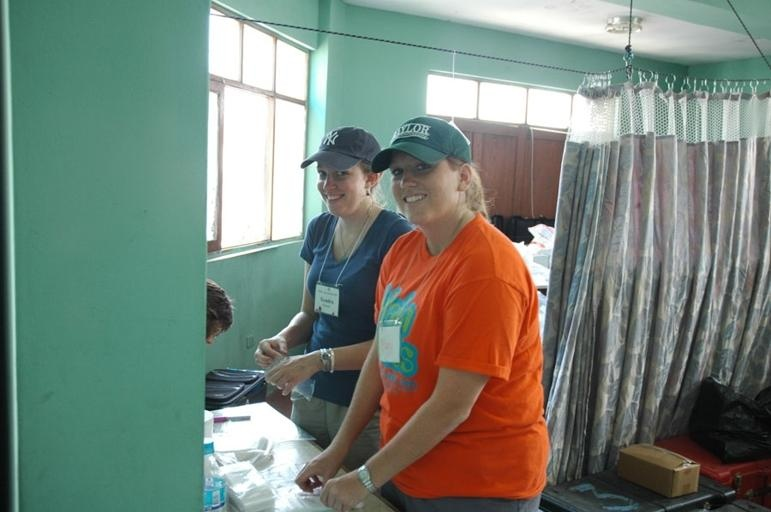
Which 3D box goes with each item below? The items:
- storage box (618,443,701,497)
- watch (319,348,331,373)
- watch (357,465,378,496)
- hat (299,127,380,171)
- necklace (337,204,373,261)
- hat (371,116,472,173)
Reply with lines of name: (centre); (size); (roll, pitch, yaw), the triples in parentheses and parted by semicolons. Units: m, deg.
storage box: (1.350, 0.981, 2.938); (0.208, 0.149, 0.276); (-2, 8, -33)
watch: (-0.208, 0.371, 2.152); (0.045, 0.067, 0.065); (-6, 35, -15)
watch: (-0.057, 0.618, 1.675); (0.062, 0.076, 0.026); (3, 7, 27)
hat: (-0.163, -0.425, 2.350); (0.222, 0.158, 0.326); (12, 19, 40)
necklace: (-0.132, -0.085, 2.331); (0.060, 0.230, 0.125); (30, 0, -34)
hat: (0.119, -0.349, 1.853); (0.222, 0.164, 0.327); (8, 2, 37)
